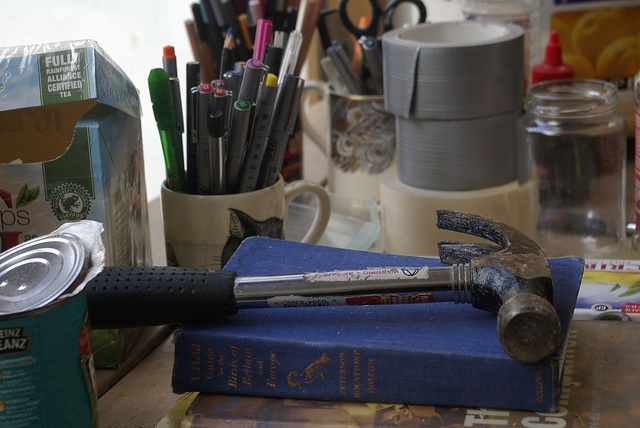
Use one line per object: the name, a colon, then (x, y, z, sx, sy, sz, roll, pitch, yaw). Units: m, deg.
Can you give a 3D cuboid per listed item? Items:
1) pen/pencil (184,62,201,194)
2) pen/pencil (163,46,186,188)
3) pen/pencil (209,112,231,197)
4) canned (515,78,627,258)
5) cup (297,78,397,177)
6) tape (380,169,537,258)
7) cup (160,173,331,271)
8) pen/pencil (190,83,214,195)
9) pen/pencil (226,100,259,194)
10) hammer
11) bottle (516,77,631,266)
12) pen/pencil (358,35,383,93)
pen/pencil: (-0.141, -0.110, 0.703, 0.012, 0.125, 0.012, 2, -17, -22)
pen/pencil: (-0.155, -0.118, 0.716, 0.018, 0.133, 0.015, -4, 12, 11)
pen/pencil: (-0.111, -0.060, 0.683, 0.019, 0.099, 0.019, 26, 43, 26)
canned: (0.305, -0.051, 0.763, 0.123, 0.215, 0.072, 2, 13, 20)
cup: (0.053, -0.156, 0.998, 0.156, 0.159, 0.098, 13, 36, 23)
tape: (0.174, -0.009, 0.785, 0.135, 0.088, 0.111, -1, 22, 1)
cup: (-0.095, -0.028, 0.741, 0.178, 0.119, 0.135, -16, 19, -42)
pen/pencil: (-0.126, -0.070, 0.685, 0.022, 0.129, 0.022, -8, 31, -26)
pen/pencil: (-0.093, -0.058, 0.707, 0.025, 0.150, 0.025, 13, 41, -2)
hammer: (-0.002, 0.070, 0.576, 0.406, 0.063, 0.219, -5, 17, 13)
bottle: (0.328, -0.057, 0.816, 0.117, 0.218, 0.119, -10, 22, 4)
pen/pencil: (0.072, -0.208, 0.884, 0.021, 0.099, 0.027, -34, 49, -8)
